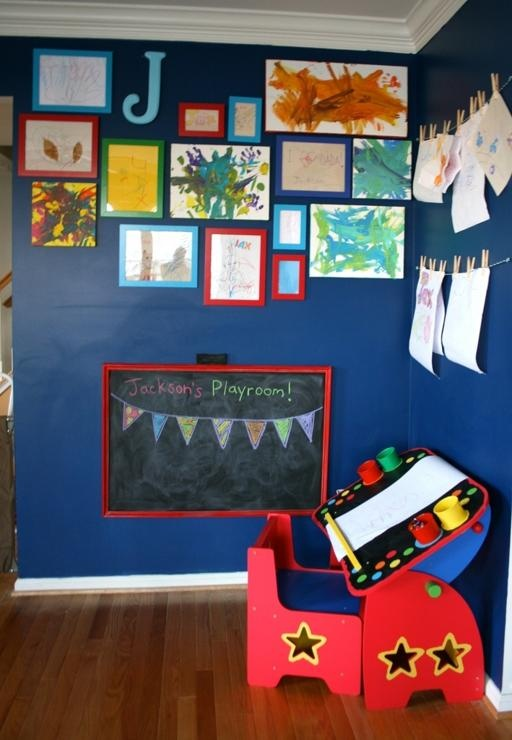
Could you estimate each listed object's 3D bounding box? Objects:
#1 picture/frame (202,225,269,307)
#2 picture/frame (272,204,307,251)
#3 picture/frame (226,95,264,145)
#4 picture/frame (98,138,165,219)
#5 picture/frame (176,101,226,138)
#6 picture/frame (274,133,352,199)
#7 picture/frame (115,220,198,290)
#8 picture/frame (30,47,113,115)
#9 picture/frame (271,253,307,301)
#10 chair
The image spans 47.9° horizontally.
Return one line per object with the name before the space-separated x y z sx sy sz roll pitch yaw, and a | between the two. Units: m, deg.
picture/frame | -0.089 -0.400 2.170 0.274 0.361 0.012 0 4 -7
picture/frame | 0.118 -0.545 2.182 0.160 0.231 0.011 0 2 -8
picture/frame | -0.049 -0.931 2.137 0.169 0.224 0.009 0 0 -9
picture/frame | -0.463 -0.712 2.111 0.257 0.331 0.012 1 4 -9
picture/frame | -0.213 -0.920 2.121 0.123 0.097 0.006 0 0 -6
picture/frame | 0.199 -0.776 2.170 0.220 0.179 0.010 0 5 -4
picture/frame | -0.379 -0.439 2.146 0.222 0.202 0.013 0 2 -7
picture/frame | -0.674 -1.046 2.076 0.224 0.189 0.006 -1 5 -2
picture/frame | 0.115 -0.360 2.196 0.163 0.239 0.018 0 1 -8
chair | 0.165 0.707 1.868 0.325 0.446 0.452 1 7 8
